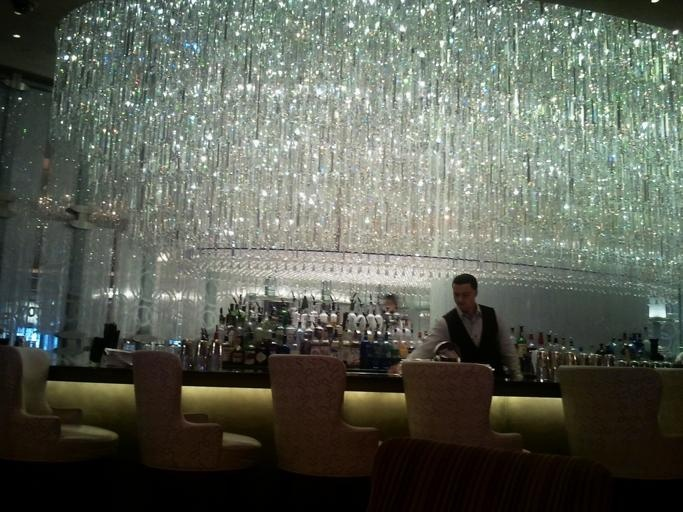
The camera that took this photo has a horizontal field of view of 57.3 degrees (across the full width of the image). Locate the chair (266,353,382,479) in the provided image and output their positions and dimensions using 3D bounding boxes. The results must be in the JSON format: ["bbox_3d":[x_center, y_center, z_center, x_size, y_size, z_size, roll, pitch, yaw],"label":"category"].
[{"bbox_3d":[-0.191,1.133,4.308,0.753,0.852,0.809,8,-14,-34],"label":"chair"}]

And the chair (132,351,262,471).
[{"bbox_3d":[-0.982,1.058,4.346,0.895,0.758,0.656,6,-9,-21],"label":"chair"}]

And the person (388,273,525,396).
[{"bbox_3d":[0.967,0.912,5.322,1.112,1.433,0.605,-4,-1,-23],"label":"person"}]

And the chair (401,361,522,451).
[{"bbox_3d":[0.722,0.914,4.193,0.542,0.791,0.664,-3,-7,36],"label":"chair"}]
